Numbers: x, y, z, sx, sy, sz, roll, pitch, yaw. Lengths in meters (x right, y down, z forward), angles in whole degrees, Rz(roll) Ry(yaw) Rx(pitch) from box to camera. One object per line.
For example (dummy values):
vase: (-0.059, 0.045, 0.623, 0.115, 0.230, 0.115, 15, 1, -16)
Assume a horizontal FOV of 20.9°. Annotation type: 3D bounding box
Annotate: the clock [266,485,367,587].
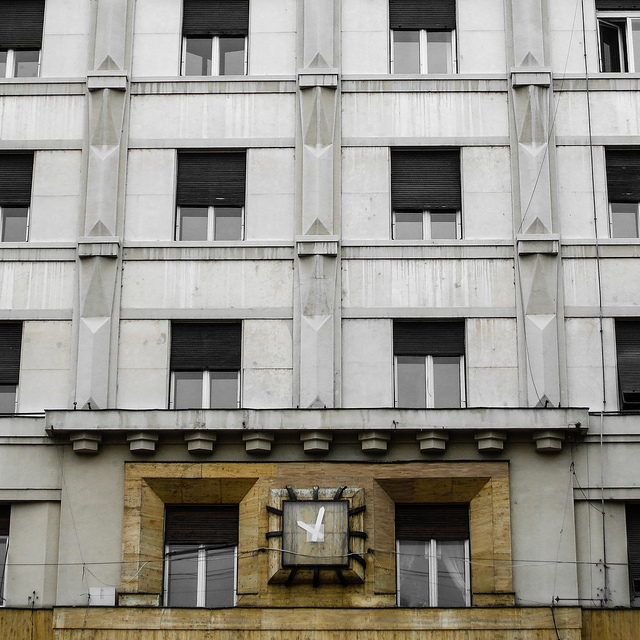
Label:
clock: (-0.073, 4.131, 32.757, 1.445, 1.843, 0.234, 1, -17, -1)
